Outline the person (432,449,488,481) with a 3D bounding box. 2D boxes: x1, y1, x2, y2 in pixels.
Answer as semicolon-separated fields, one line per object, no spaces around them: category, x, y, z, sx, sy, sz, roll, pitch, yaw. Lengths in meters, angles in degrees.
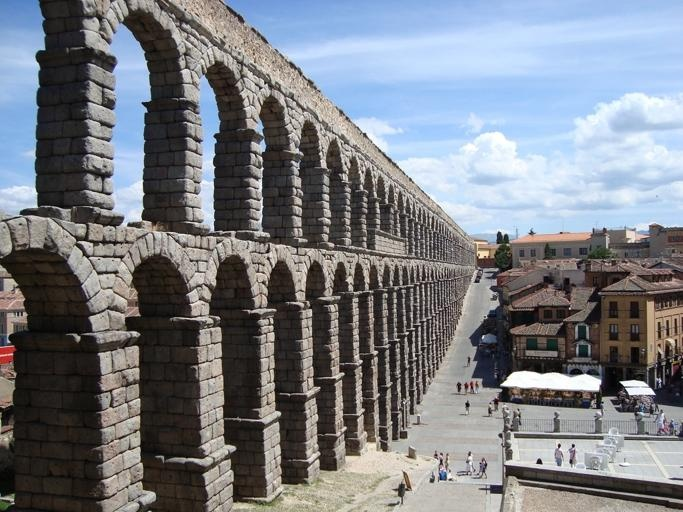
person;6.331;11.281;38.860;2.318;0.692;1.593;0;1;5
